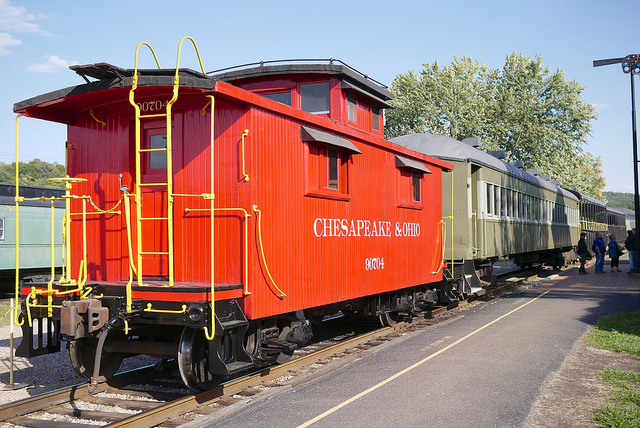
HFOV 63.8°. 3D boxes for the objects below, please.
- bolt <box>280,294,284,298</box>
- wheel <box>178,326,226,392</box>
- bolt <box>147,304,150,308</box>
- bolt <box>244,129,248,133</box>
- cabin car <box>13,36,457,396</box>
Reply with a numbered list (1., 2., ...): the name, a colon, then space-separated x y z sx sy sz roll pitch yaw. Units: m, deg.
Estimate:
1. bolt: -0.639 1.358 8.590 0.071 0.073 0.059 -3 -3 14
2. wheel: -1.767 2.246 8.004 0.656 1.095 0.709 0 0 0
3. bolt: -2.549 1.363 7.684 0.034 0.033 0.036 -4 -10 19
4. bolt: -1.154 -1.312 8.037 0.050 0.053 0.019 -3 -7 -8
5. cabin car: -1.185 -0.249 12.083 5.008 5.640 11.065 -1 1 33
